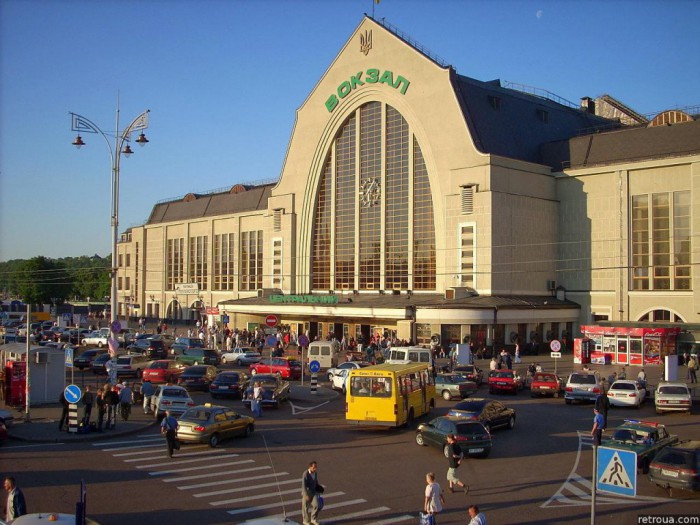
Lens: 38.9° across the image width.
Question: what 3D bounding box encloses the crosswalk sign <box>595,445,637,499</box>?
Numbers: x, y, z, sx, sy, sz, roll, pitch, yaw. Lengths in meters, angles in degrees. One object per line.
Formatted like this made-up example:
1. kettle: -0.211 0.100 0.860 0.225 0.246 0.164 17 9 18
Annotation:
1. crosswalk sign: 11.647 9.159 43.405 1.662 2.044 0.645 -2 -5 13

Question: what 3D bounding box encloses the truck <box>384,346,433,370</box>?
1. truck: 4.768 7.082 72.660 2.475 1.469 1.576 5 -6 -38

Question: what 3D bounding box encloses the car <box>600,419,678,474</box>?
1. car: 15.591 9.744 53.497 2.764 2.310 5.665 0 2 39

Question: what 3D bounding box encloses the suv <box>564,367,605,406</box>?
1. suv: 15.854 8.515 67.055 2.275 2.141 1.932 2 -6 -25

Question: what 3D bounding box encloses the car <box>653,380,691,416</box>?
1. car: 20.998 8.874 64.322 2.145 1.848 2.313 -6 -7 40

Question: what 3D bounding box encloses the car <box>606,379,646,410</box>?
1. car: 18.659 8.910 66.936 2.315 1.823 3.198 -2 -6 15

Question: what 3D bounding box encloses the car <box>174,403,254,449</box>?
1. car: -7.686 9.160 56.230 2.462 2.004 5.800 1 -1 28

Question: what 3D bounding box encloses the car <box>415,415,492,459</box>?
1. car: 5.671 9.620 55.543 2.642 2.293 5.363 1 2 -25

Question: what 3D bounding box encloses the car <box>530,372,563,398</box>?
1. car: 13.940 8.774 70.428 2.145 1.745 1.451 -1 -5 2

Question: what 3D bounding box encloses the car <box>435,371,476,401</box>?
1. car: 6.938 8.702 69.210 1.382 0.951 2.484 -2 3 -20

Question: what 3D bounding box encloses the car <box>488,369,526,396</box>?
1. car: 11.180 8.691 71.738 1.930 1.779 2.521 -3 -6 20

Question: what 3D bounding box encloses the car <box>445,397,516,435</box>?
1. car: 7.845 8.913 58.306 1.733 1.460 3.917 1 2 43
